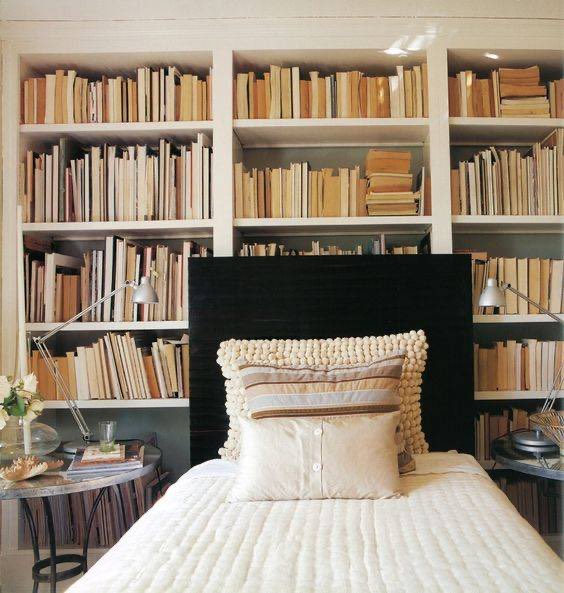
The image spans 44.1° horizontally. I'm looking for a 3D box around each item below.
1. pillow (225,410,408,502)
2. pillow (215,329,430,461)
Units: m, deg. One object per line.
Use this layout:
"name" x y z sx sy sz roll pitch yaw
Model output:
"pillow" 0.129 0.586 2.563 0.617 0.247 0.242 -1 10 1
"pillow" 0.198 0.448 3.108 0.680 0.157 0.656 1 36 0
